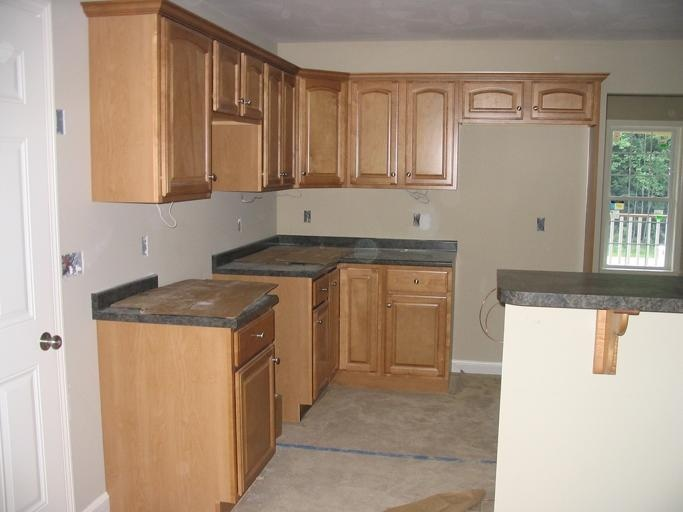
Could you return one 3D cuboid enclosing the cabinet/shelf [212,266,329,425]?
[{"bbox_3d":[-0.289,0.616,4.760,1.006,1.486,1.049,-1,5,9],"label":"cabinet/shelf"}]
